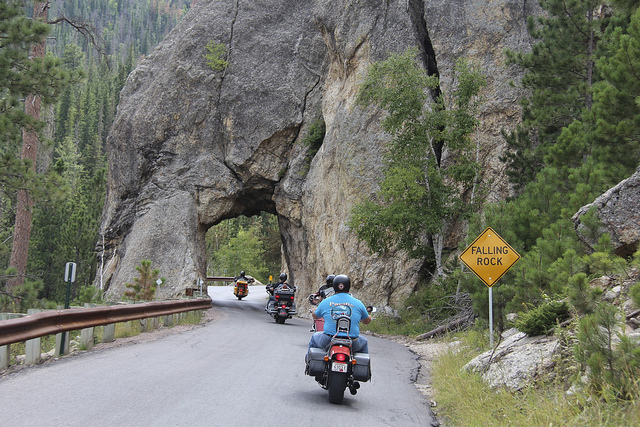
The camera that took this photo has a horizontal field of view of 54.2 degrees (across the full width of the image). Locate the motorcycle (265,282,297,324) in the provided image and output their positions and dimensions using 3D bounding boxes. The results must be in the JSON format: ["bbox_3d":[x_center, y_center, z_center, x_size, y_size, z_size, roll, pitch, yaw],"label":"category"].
[{"bbox_3d":[-1.829,4.274,29.993,1.203,1.988,0.941,2,2,5],"label":"motorcycle"}]

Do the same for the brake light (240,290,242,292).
[{"bbox_3d":[-6.359,6.205,50.316,0.162,0.144,0.069,1,2,-26],"label":"brake light"}]

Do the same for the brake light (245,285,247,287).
[{"bbox_3d":[-6.016,5.813,50.736,0.133,0.120,0.143,5,6,27],"label":"brake light"}]

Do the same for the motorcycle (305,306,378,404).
[{"bbox_3d":[0.503,3.785,16.284,1.610,2.252,0.711,2,2,2],"label":"motorcycle"}]

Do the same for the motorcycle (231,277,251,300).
[{"bbox_3d":[-6.368,6.123,50.737,0.938,1.618,1.966,2,2,-9],"label":"motorcycle"}]

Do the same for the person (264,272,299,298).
[{"bbox_3d":[-1.910,3.492,30.577,0.910,1.053,1.633,5,1,-5],"label":"person"}]

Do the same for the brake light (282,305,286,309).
[{"bbox_3d":[-1.716,4.421,29.671,0.119,0.137,0.033,7,-5,18],"label":"brake light"}]
